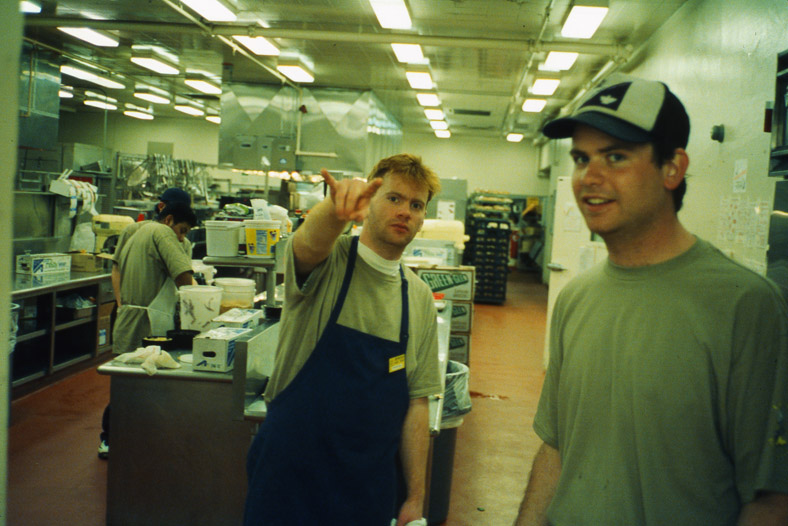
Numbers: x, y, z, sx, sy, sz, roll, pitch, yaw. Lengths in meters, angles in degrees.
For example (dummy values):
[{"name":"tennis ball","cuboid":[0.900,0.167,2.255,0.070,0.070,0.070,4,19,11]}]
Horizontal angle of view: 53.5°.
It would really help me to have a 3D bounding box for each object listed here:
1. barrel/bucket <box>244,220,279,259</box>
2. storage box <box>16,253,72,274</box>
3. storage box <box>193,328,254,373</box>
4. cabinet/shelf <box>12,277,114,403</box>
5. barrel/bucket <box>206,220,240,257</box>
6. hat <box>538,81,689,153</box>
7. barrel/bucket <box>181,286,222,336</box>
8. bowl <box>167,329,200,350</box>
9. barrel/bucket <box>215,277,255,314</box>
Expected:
[{"name":"barrel/bucket","cuboid":[-1.262,-0.233,7.488,0.411,0.361,0.428,1,-1,0]},{"name":"storage box","cuboid":[-3.856,0.011,8.547,0.260,0.191,0.449,4,6,25]},{"name":"storage box","cuboid":[-1.356,0.704,6.008,0.288,0.230,0.513,-1,-6,8]},{"name":"cabinet/shelf","cuboid":[-3.657,0.840,8.406,0.415,0.570,1.402,0,7,1]},{"name":"barrel/bucket","cuboid":[-1.642,-0.230,7.299,0.343,0.277,0.323,-1,3,0]},{"name":"hat","cuboid":[1.322,-0.881,4.488,0.835,0.368,0.577,7,6,-26]},{"name":"barrel/bucket","cuboid":[-1.561,0.388,6.399,0.423,0.353,0.405,-2,-1,0]},{"name":"bowl","cuboid":[-1.698,0.609,6.204,0.224,0.088,0.164,1,-1,1]},{"name":"barrel/bucket","cuboid":[-1.373,0.260,6.539,0.296,0.204,0.288,1,8,0]}]
